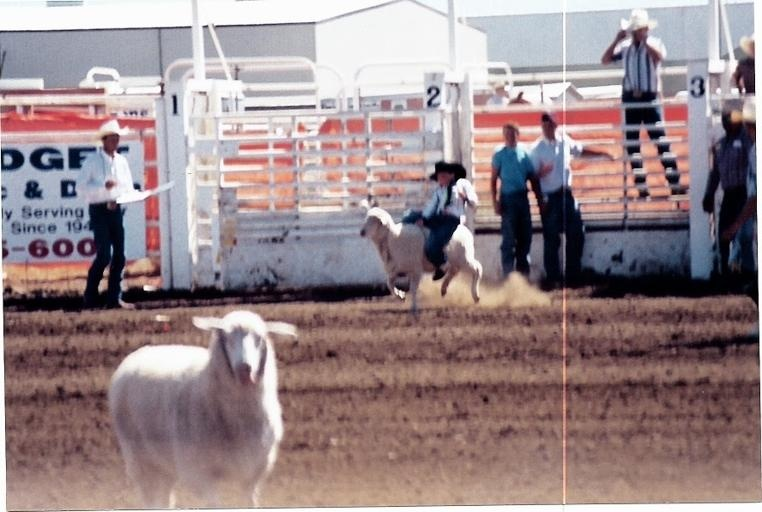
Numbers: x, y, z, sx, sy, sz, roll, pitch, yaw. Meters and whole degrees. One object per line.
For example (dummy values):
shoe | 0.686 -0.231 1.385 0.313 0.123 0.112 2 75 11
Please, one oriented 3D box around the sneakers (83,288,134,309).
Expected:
sneakers | -1.373 0.187 9.522 0.249 0.140 0.087 -1 4 -6

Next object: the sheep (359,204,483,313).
sheep | 0.132 -0.022 9.655 0.699 0.733 0.312 -1 -1 -7

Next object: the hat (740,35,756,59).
hat | 1.843 -1.068 9.447 0.066 0.111 0.034 3 10 -1

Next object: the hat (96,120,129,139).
hat | -1.342 -0.654 9.378 0.087 0.045 0.101 -10 -10 -28

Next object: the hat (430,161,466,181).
hat | 0.343 -0.450 9.432 0.112 0.118 0.049 13 4 -10

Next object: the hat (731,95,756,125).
hat | 1.842 -0.763 9.544 0.110 0.090 0.126 -2 3 8

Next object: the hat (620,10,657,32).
hat | 1.281 -1.192 9.399 0.099 0.057 0.119 -2 -10 17

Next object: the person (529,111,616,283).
person | 0.954 -0.350 9.472 0.561 0.970 0.269 -4 -5 -18

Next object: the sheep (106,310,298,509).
sheep | -0.871 0.811 9.481 1.129 1.156 0.540 -20 -19 32
